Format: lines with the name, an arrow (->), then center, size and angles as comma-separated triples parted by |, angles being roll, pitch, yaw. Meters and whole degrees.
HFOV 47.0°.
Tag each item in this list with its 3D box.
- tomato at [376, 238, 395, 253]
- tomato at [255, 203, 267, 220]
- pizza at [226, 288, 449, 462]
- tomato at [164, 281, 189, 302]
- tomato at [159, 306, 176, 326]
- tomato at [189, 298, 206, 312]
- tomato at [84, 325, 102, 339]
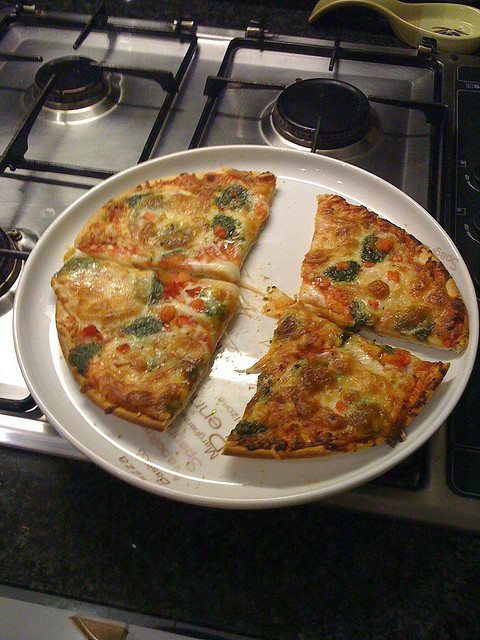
tomato -> 0.450, -0.233, 1.717 | 0.041, 0.028, 0.050 | 15, 54, 22
tomato -> 0.070, -0.366, 1.874 | 0.036, 0.012, 0.045 | -3, 67, -3
pizza -> 0.226, 0.224, 1.500 | 0.458, 0.108, 0.495 | 28, 67, 16
tomato -> -0.203, -0.091, 1.740 | 0.070, 0.031, 0.070 | -7, 63, -1
tomato -> -0.219, -0.014, 1.669 | 0.045, 0.019, 0.062 | -3, 63, 1
tomato -> -0.128, -0.045, 1.698 | 0.056, 0.011, 0.038 | 34, 69, 18
tomato -> -0.441, 0.034, 1.663 | 0.058, 0.012, 0.036 | 9, 64, 7
